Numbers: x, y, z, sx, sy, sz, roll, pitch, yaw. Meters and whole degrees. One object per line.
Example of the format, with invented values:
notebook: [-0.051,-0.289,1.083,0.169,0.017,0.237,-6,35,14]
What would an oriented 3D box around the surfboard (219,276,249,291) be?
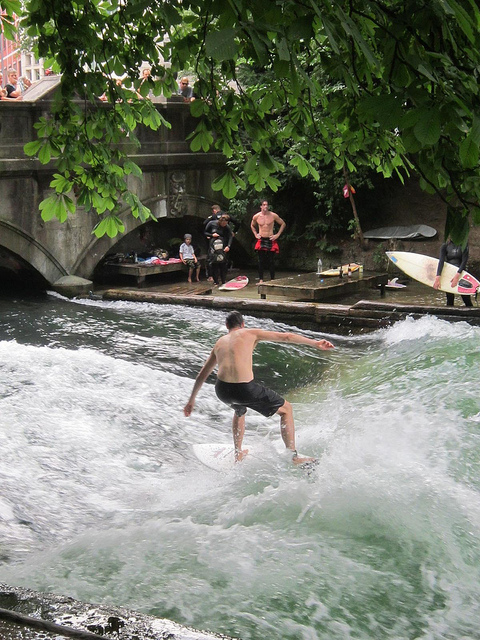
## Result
surfboard: [-0.135,-0.917,15.495,0.513,0.265,0.995,4,10,27]

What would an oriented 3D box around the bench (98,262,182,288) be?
bench: [-2.459,-1.340,17.152,2.538,0.653,2.121,-5,10,-27]

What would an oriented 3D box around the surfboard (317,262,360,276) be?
surfboard: [2.517,-1.230,14.634,0.447,0.169,1.376,1,11,44]

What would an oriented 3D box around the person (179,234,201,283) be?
person: [-1.406,-1.749,17.089,0.585,1.319,1.026,-2,10,-5]

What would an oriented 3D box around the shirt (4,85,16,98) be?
shirt: [-5.389,-5.340,14.180,0.135,0.304,0.249,6,3,-35]

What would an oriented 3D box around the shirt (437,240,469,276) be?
shirt: [3.968,-1.105,11.280,0.591,0.615,0.586,6,12,35]

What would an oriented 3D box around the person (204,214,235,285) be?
person: [-0.495,-1.775,15.431,0.740,1.803,0.862,-2,10,-2]

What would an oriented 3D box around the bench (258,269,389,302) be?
bench: [1.909,-0.834,13.837,3.030,0.556,1.399,-9,12,-43]

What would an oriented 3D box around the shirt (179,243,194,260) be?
shirt: [-1.431,-1.946,16.948,0.531,0.512,0.382,5,15,21]

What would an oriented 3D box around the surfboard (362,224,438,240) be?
surfboard: [4.714,-2.529,17.455,2.399,0.640,0.235,-2,-38,13]
